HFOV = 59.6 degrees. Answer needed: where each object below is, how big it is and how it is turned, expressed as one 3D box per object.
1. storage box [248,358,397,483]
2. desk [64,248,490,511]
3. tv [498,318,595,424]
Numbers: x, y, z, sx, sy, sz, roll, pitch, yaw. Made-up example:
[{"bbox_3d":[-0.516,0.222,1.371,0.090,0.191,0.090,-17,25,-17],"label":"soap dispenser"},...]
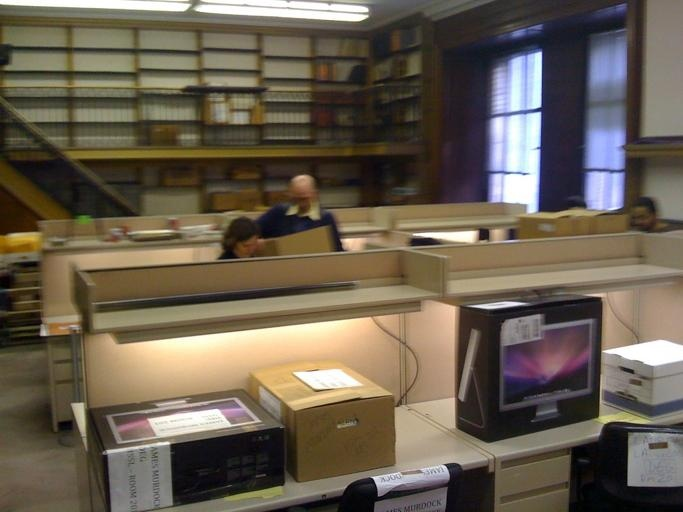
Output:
[{"bbox_3d":[-0.107,0.746,2.837,0.572,0.347,0.681,0,5,-15],"label":"storage box"},{"bbox_3d":[-0.428,0.707,3.048,2.166,1.299,1.079,-3,4,-28],"label":"desk"},{"bbox_3d":[0.977,0.546,2.896,0.585,0.473,0.075,-3,2,-24],"label":"tv"}]
